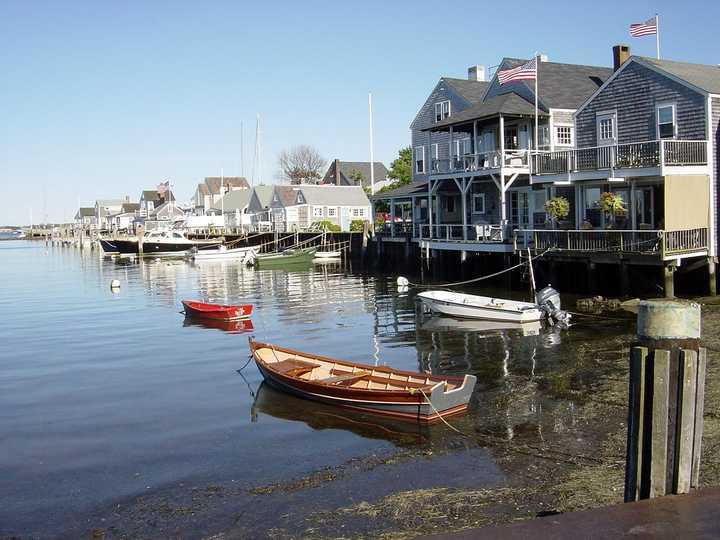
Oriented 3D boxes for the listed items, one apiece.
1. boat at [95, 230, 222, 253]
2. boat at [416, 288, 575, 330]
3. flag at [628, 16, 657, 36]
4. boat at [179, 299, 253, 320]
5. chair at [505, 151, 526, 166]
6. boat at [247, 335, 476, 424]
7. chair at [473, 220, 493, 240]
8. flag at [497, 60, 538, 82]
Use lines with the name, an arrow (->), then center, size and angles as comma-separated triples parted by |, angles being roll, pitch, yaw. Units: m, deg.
boat -> -18.374, -2.611, 74.517 | 12.645, 2.748, 3.218 | 1, 0, 16
boat -> 4.988, 1.403, 27.944 | 6.055, 1.556, 1.790 | 4, 9, 37
flag -> 10.903, -9.208, 30.449 | 0.887, 0.678, 1.422 | -1, 10, 16
boat -> -5.675, 1.564, 31.055 | 1.091, 0.494, 2.964 | -3, 6, -45
chair -> 6.790, -4.898, 34.851 | 0.914, 0.628, 0.878 | 0, 2, -14
boat -> -0.106, 2.683, 18.722 | 5.256, 1.165, 1.896 | 4, 8, 40
chair -> 5.488, -1.735, 35.437 | 0.840, 1.027, 0.830 | -1, 0, 0
flag -> 6.947, -8.633, 34.622 | 1.458, 0.992, 4.188 | -1, 10, 15
